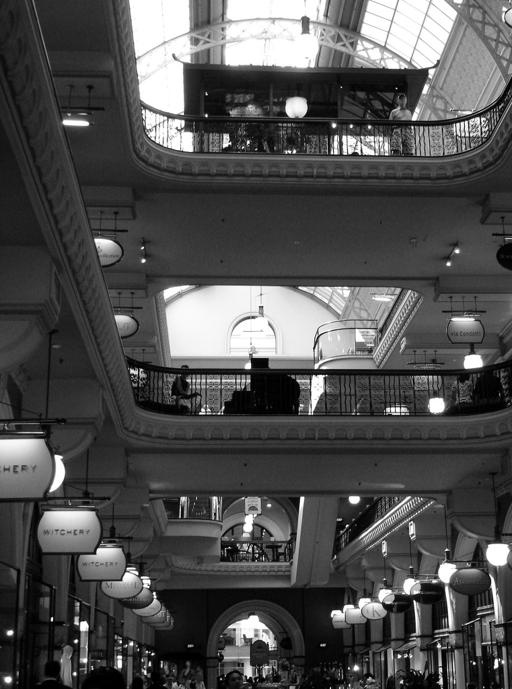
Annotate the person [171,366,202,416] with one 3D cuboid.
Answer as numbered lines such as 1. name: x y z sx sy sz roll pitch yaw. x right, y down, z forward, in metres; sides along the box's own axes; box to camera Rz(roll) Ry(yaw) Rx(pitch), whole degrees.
1. person: -1.266 0.837 13.789 0.385 0.804 0.305 2 -6 9

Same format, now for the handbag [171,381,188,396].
1. handbag: -1.381 0.805 13.728 0.301 0.345 0.313 2 -24 -6

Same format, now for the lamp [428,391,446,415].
1. lamp: 3.286 1.082 13.877 0.291 0.427 0.151 0 -8 25
